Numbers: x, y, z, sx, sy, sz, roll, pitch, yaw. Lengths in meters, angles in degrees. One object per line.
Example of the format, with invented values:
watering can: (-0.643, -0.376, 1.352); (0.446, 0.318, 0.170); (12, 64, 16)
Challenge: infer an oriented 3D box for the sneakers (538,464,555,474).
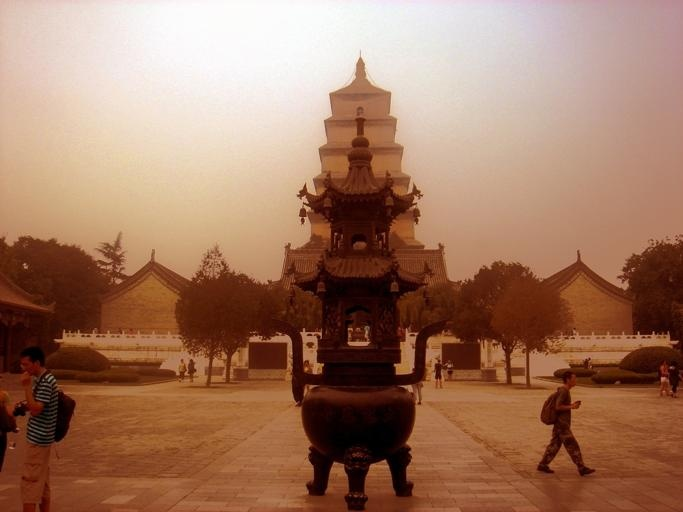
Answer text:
sneakers: (3.683, 3.844, 10.827); (0.390, 0.151, 0.127); (2, -2, -18)

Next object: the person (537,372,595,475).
person: (4.046, 3.012, 10.909); (0.931, 1.828, 1.618); (-3, -13, 20)

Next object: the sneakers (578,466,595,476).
sneakers: (4.360, 3.801, 10.594); (0.246, 0.162, 0.345); (-4, -13, 21)

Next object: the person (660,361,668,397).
person: (14.936, 5.633, 27.486); (0.443, 1.501, 1.780); (-5, -14, 28)

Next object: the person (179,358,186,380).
person: (-10.377, 7.280, 38.522); (0.332, 1.306, 1.952); (5, -13, -17)
